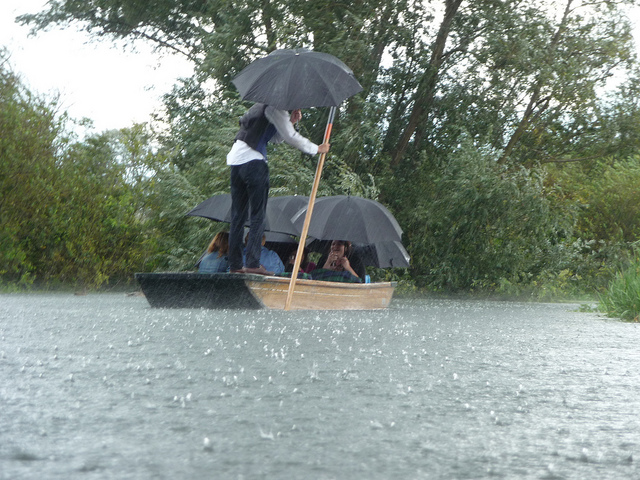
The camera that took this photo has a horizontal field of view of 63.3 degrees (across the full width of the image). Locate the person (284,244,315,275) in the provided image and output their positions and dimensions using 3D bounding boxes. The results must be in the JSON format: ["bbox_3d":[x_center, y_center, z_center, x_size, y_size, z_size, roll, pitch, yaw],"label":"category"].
[{"bbox_3d":[-0.472,0.447,11.950,0.548,0.687,0.783,8,-4,10],"label":"person"}]

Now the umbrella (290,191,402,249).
[{"bbox_3d":[0.562,-0.383,9.979,1.307,0.525,1.347,13,16,6],"label":"umbrella"}]

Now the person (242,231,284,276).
[{"bbox_3d":[-0.999,0.231,9.083,0.729,0.657,2.052,-8,2,-1],"label":"person"}]

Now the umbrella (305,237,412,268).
[{"bbox_3d":[1.399,0.352,12.652,1.271,0.464,1.238,10,-6,-41],"label":"umbrella"}]

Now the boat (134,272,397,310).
[{"bbox_3d":[-0.407,0.912,9.011,5.133,0.665,1.773,4,-4,-37],"label":"boat"}]
